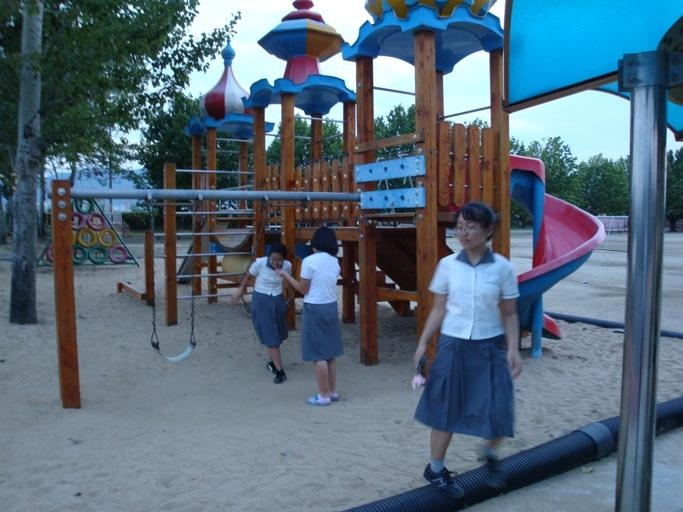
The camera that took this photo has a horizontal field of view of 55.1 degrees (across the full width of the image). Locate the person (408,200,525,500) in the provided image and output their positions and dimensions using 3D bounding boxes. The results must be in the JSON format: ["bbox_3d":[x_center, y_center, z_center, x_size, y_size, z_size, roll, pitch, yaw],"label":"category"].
[{"bbox_3d":[0.934,0.700,4.870,0.720,2.057,0.551,0,4,7],"label":"person"}]

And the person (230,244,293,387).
[{"bbox_3d":[-0.836,0.621,7.427,0.704,1.611,0.694,-1,13,-6],"label":"person"}]

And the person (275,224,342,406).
[{"bbox_3d":[-0.296,0.622,6.920,0.612,1.856,0.608,1,-2,-34],"label":"person"}]

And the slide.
[{"bbox_3d":[2.911,-0.092,9.069,1.255,2.610,2.293,3,8,20],"label":"slide"}]
